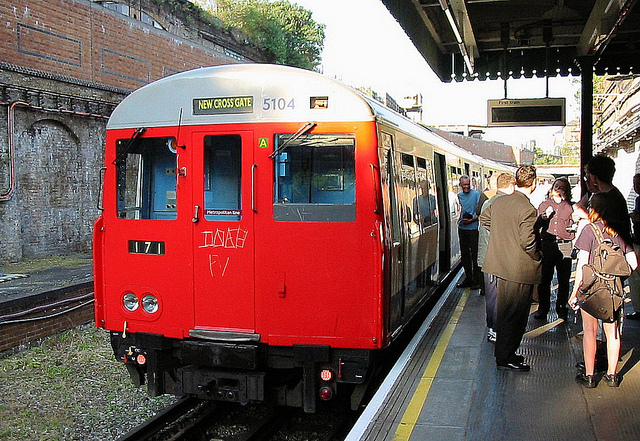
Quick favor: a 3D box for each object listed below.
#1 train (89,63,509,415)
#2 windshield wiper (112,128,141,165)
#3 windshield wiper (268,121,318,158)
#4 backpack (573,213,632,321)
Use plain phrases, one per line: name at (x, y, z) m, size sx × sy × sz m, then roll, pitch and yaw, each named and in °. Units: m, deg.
train at (-0.317, 0.391, 6.750) m, size 5.015 × 4.846 × 2.892 m, roll -4°, pitch 5°, yaw -32°
windshield wiper at (-2.515, -0.976, 6.289) m, size 0.058 × 0.517 × 0.077 m, roll 42°, pitch 6°, yaw 40°
windshield wiper at (-0.322, -0.998, 5.870) m, size 0.580 × 0.085 × 0.050 m, roll -44°, pitch -1°, yaw 7°
backpack at (3.311, 0.548, 5.675) m, size 0.636 × 1.247 × 0.307 m, roll 0°, pitch 4°, yaw 18°
